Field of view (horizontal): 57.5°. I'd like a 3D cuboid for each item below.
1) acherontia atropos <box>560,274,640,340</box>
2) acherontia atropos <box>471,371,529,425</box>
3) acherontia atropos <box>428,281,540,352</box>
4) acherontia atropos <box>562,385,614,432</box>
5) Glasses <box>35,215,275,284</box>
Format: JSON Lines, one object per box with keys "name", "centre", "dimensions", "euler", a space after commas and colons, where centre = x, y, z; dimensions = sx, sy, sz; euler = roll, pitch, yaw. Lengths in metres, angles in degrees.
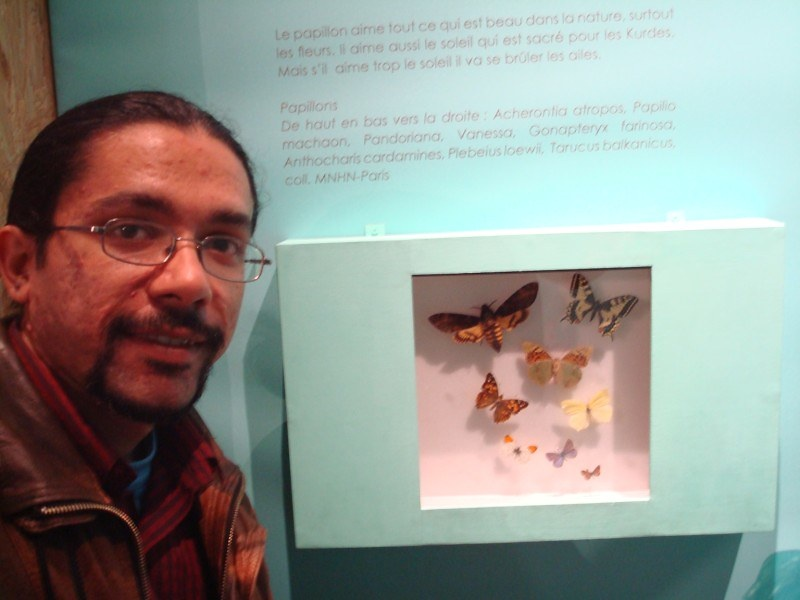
{"name": "acherontia atropos", "centre": [0.389, 0.006, 1.398], "dimensions": [0.099, 0.091, 0.024], "euler": [16, 28, 9]}
{"name": "acherontia atropos", "centre": [0.205, 0.194, 1.448], "dimensions": [0.105, 0.101, 0.013], "euler": [0, 6, -9]}
{"name": "acherontia atropos", "centre": [0.174, 0.043, 1.419], "dimensions": [0.213, 0.118, 0.045], "euler": [-16, 16, 11]}
{"name": "acherontia atropos", "centre": [0.374, 0.208, 1.431], "dimensions": [0.072, 0.065, 0.013], "euler": [-13, 6, 0]}
{"name": "Glasses", "centre": [-0.425, -0.085, 1.256], "dimensions": [0.322, 0.111, 0.099], "euler": [-3, 8, -27]}
